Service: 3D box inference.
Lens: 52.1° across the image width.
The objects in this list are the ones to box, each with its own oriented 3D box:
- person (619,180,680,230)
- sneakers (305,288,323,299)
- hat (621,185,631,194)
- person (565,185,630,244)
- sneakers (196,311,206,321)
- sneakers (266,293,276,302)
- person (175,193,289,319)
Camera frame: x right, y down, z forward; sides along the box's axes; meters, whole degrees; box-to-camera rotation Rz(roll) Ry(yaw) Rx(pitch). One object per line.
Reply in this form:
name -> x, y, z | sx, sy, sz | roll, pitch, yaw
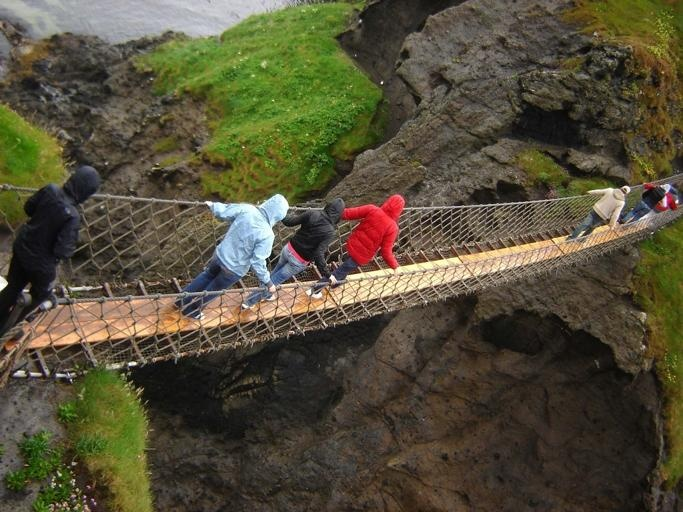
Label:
person -> 6.376, -1.033, 14.510 | 0.707, 0.926, 0.308 | 52, 44, -8
sneakers -> -0.466, 0.647, 12.219 | 0.241, 0.149, 0.159 | 7, 17, -6
hat -> 5.502, -1.285, 13.504 | 0.213, 0.111, 0.281 | 11, -17, 22
person -> 5.022, -0.835, 13.520 | 0.411, 1.258, 0.922 | -16, 64, -50
sneakers -> -2.364, 1.001, 11.682 | 0.087, 0.212, 0.069 | 6, 3, 4
sneakers -> -1.205, 0.704, 11.980 | 0.125, 0.144, 0.164 | 10, 10, -3
person -> -1.937, 0.073, 12.360 | 0.660, 2.012, 1.533 | -3, 61, -61
